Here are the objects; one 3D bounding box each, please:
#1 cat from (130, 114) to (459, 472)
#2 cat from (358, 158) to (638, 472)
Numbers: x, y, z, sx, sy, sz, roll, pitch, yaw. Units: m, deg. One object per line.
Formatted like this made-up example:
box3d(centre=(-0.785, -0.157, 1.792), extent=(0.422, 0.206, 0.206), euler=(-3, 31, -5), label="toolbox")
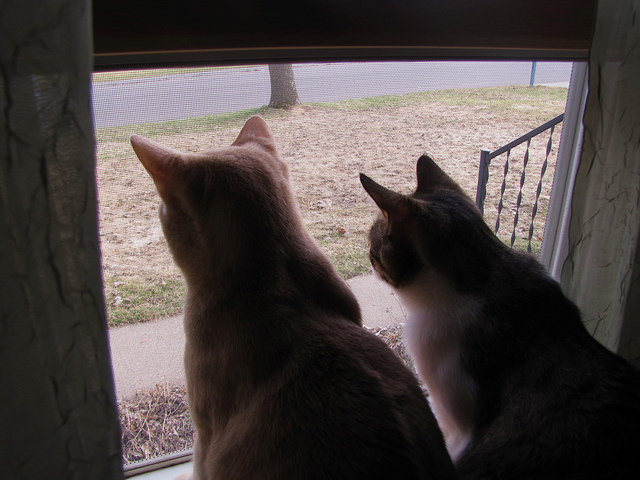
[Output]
box3d(centre=(-0.060, 0.104, 0.949), extent=(0.556, 0.605, 0.277), euler=(0, 10, 13), label="cat")
box3d(centre=(0.420, 0.173, 1.200), extent=(0.213, 0.365, 0.653), euler=(-30, 49, 2), label="cat")
